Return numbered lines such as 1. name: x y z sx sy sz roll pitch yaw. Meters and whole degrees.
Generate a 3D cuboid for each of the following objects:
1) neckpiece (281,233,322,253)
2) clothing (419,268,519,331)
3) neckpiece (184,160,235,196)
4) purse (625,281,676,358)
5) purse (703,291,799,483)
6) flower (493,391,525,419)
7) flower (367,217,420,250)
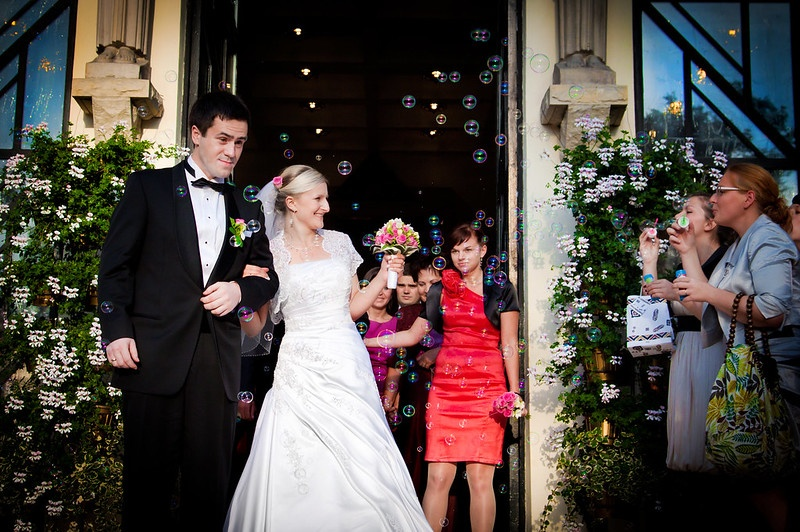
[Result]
1. neckpiece: -0.703 -0.146 4.927 0.189 0.191 0.070 -4 -20 -16
2. clothing: 0.589 0.308 5.544 0.786 0.495 0.458 -4 -17 10
3. neckpiece: -1.232 -0.499 4.247 0.229 0.233 0.092 14 -37 -30
4. purse: 1.890 0.444 5.104 0.309 0.440 0.157 -6 -33 25
5. purse: 2.188 0.738 4.236 0.497 1.119 0.178 -2 -2 24
6. flower: 0.848 1.072 5.264 0.210 0.214 0.212 30 13 16
7. flower: -0.044 -0.236 4.977 0.254 0.219 0.258 10 23 20
